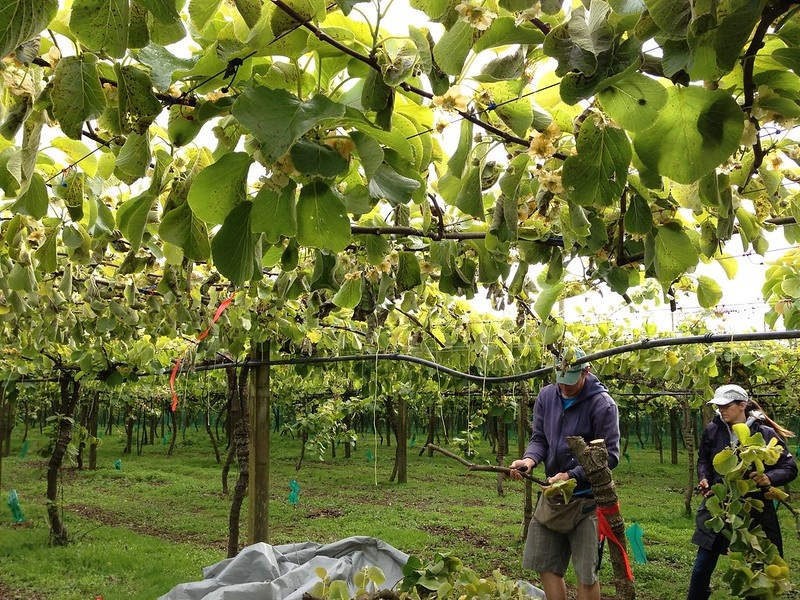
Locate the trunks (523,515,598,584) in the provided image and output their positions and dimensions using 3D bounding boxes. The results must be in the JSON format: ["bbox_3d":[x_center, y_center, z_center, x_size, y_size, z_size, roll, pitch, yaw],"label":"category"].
[{"bbox_3d":[1.017,1.468,4.112,0.469,0.505,0.212,0,-6,21],"label":"trunks"}]

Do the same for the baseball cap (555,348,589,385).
[{"bbox_3d":[0.891,0.354,3.430,0.143,0.128,0.240,4,34,31],"label":"baseball cap"}]

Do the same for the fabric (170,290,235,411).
[{"bbox_3d":[-1.403,0.323,4.600,0.148,1.054,0.136,44,-35,-2],"label":"fabric"}]

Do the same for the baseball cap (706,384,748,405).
[{"bbox_3d":[2.316,0.680,4.671,0.212,0.111,0.156,4,-16,-8],"label":"baseball cap"}]

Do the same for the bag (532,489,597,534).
[{"bbox_3d":[1.013,1.294,4.005,0.334,0.209,0.165,-4,-13,25],"label":"bag"}]
